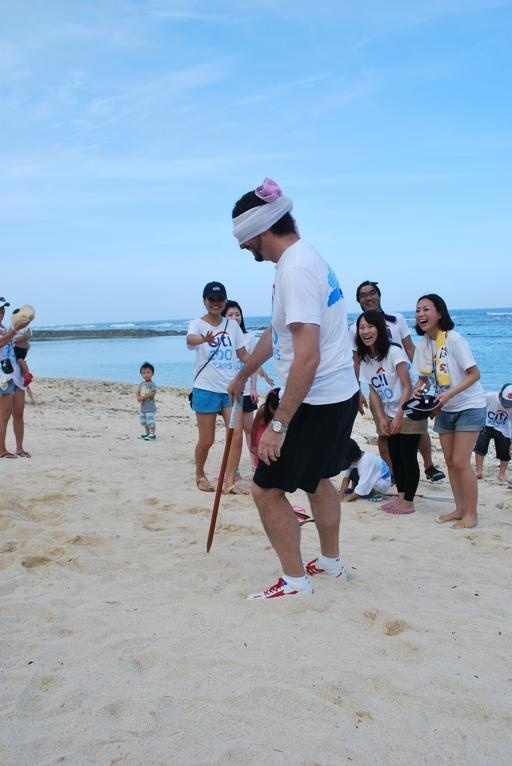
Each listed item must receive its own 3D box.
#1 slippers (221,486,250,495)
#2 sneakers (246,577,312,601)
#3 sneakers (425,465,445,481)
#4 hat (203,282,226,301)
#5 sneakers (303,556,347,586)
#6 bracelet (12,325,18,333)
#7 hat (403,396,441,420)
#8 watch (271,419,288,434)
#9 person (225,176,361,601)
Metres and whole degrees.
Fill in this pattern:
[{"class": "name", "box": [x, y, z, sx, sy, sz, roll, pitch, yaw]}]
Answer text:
[{"class": "slippers", "box": [-0.170, 0.887, 6.089, 0.236, 0.090, 0.074, -5, -24, 11]}, {"class": "sneakers", "box": [0.085, 0.973, 3.544, 0.348, 0.130, 0.112, -2, -7, 2]}, {"class": "sneakers", "box": [1.659, 0.855, 6.984, 0.094, 0.100, 0.227, -23, -8, -9]}, {"class": "hat", "box": [-0.337, -0.709, 5.861, 0.167, 0.140, 0.243, 0, 5, -5]}, {"class": "sneakers", "box": [0.355, 0.950, 3.844, 0.282, 0.113, 0.097, 6, 22, 18]}, {"class": "bracelet", "box": [-2.285, -0.495, 6.997, 0.021, 0.065, 0.067, -14, -22, -37]}, {"class": "hat", "box": [1.100, 0.178, 4.995, 0.181, 0.181, 0.274, -3, 6, -33]}, {"class": "watch", "box": [0.090, 0.190, 3.129, 0.068, 0.050, 0.073, 16, -2, 14]}, {"class": "person", "box": [0.134, 0.070, 3.393, 0.582, 1.964, 1.020, 3, 6, 21]}]
